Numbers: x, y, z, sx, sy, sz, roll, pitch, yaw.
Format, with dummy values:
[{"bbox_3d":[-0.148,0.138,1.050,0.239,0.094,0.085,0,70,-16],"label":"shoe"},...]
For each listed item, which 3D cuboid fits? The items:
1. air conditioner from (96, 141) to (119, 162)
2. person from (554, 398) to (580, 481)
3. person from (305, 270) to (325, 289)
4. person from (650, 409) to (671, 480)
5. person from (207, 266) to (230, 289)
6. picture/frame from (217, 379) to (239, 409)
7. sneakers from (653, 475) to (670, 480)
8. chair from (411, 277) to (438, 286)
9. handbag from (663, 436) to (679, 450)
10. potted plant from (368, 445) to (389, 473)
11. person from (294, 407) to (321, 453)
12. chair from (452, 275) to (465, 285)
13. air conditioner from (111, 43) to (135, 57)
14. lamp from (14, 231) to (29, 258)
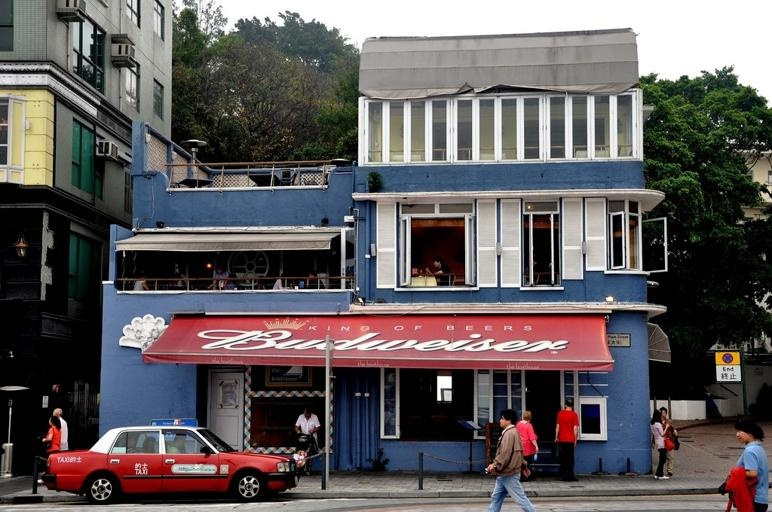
[{"bbox_3d":[-12.389,-4.545,69.918,0.702,0.829,1.311,-1,-6,7],"label":"air conditioner"},{"bbox_3d":[6.907,7.076,61.026,0.821,3.155,1.229,-1,-8,6],"label":"person"},{"bbox_3d":[-2.914,0.901,65.206,0.714,0.435,0.710,1,-9,-6],"label":"person"},{"bbox_3d":[10.569,7.304,61.626,0.637,2.698,1.396,-1,-8,8],"label":"person"},{"bbox_3d":[-6.971,0.823,65.261,0.795,1.183,2.367,1,-8,-6],"label":"person"},{"bbox_3d":[-6.427,5.544,63.938,1.168,1.578,0.170,-1,-6,0],"label":"picture/frame"},{"bbox_3d":[10.579,8.507,61.024,0.510,0.211,0.182,0,-6,4],"label":"sneakers"},{"bbox_3d":[1.426,0.948,63.761,1.067,0.427,0.232,0,-8,-1],"label":"chair"},{"bbox_3d":[10.913,7.190,61.176,0.484,0.582,0.324,5,-49,3],"label":"handbag"},{"bbox_3d":[-0.260,8.118,62.921,0.641,0.902,0.906,4,-19,-9],"label":"potted plant"},{"bbox_3d":[-3.129,6.862,62.683,1.025,1.739,0.738,4,-9,-31],"label":"person"},{"bbox_3d":[2.831,0.894,63.812,0.563,0.373,0.343,2,5,5],"label":"chair"},{"bbox_3d":[-12.066,-9.511,71.885,0.626,0.465,0.932,0,1,-12],"label":"air conditioner"},{"bbox_3d":[-15.172,-0.506,65.583,0.518,0.966,0.204,2,-8,-18],"label":"lamp"}]
